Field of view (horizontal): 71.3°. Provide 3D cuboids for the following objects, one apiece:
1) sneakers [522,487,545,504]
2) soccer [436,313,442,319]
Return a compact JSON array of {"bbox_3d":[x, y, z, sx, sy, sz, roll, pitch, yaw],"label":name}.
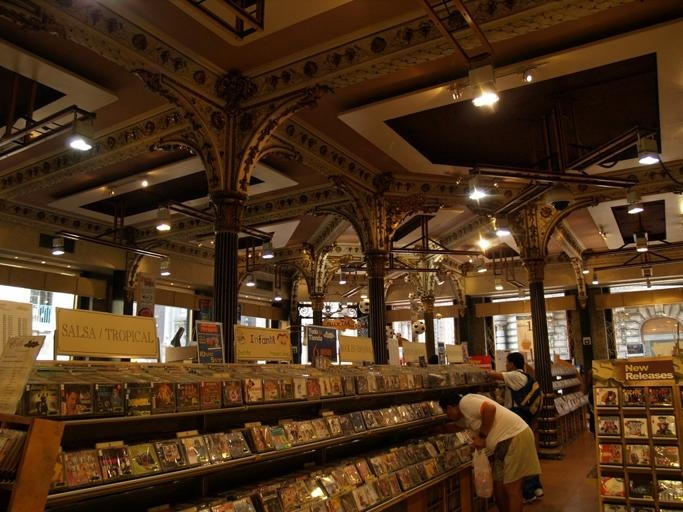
[{"bbox_3d":[2.828,3.505,6.972,0.367,0.159,0.132,-16,-30,30],"label":"sneakers"},{"bbox_3d":[4.141,2.539,20.204,0.232,0.207,0.217,2,-14,-12],"label":"soccer"}]
